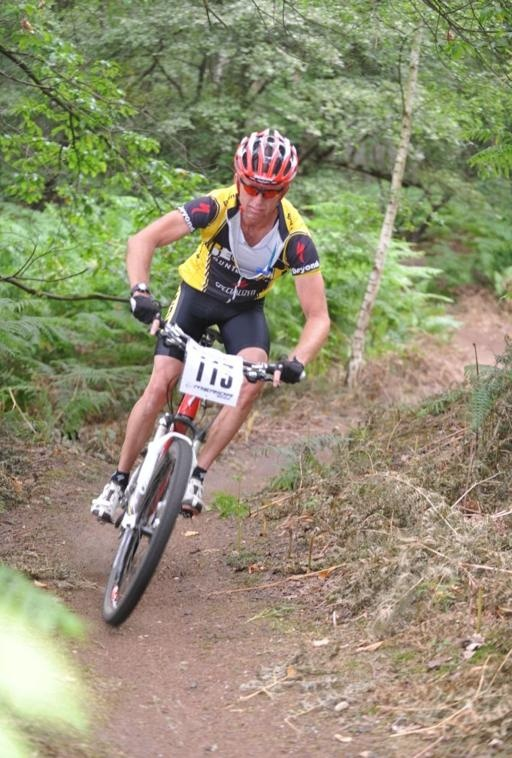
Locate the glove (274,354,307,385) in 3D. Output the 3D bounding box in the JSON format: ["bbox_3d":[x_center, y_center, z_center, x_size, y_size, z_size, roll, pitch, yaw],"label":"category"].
[{"bbox_3d":[0.159,-0.036,3.732,0.147,0.106,0.091,0,20,-41],"label":"glove"}]

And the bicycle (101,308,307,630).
[{"bbox_3d":[-0.391,0.502,3.922,0.608,1.700,0.982,12,15,-8],"label":"bicycle"}]

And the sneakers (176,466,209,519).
[{"bbox_3d":[-0.335,0.623,4.075,0.107,0.137,0.303,31,30,-13],"label":"sneakers"}]

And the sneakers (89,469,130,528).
[{"bbox_3d":[-0.811,0.686,4.395,0.138,0.178,0.405,32,9,-4],"label":"sneakers"}]

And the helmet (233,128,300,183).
[{"bbox_3d":[0.033,-1.148,4.025,0.264,0.128,0.349,3,53,-4],"label":"helmet"}]
